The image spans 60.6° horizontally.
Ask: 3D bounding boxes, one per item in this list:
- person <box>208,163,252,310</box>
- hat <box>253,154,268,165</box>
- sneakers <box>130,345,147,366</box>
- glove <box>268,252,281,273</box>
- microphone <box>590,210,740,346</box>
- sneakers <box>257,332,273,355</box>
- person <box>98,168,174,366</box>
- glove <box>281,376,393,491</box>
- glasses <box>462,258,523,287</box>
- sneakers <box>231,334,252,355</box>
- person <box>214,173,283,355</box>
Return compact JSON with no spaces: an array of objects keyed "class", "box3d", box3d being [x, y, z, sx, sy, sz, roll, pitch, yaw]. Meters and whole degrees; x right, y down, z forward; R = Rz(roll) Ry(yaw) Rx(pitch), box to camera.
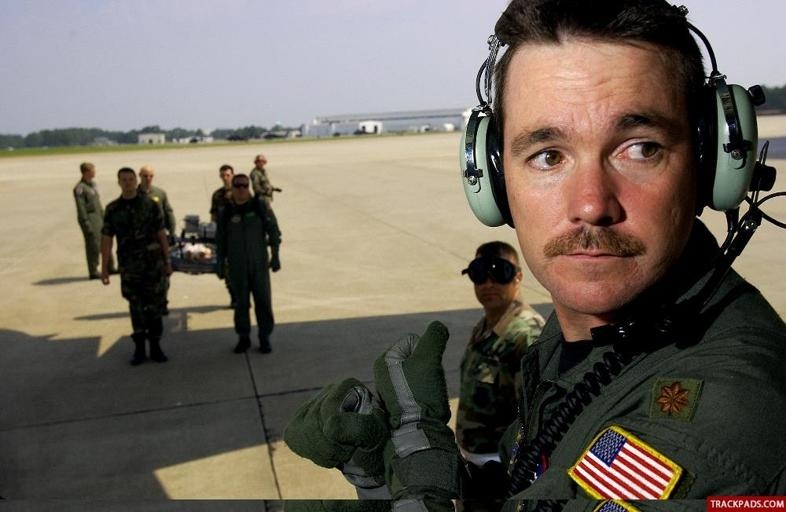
[{"class":"person","box3d":[-1.441,-0.300,6.134,0.380,1.024,0.323,11,20,41]},{"class":"hat","box3d":[-0.797,-0.581,4.039,0.067,0.070,0.078,1,-3,-17]},{"class":"sneakers","box3d":[-1.736,0.674,4.571,0.110,0.104,0.141,-12,13,-19]},{"class":"glove","box3d":[-0.902,0.051,5.124,0.110,0.129,0.045,-2,-1,18]},{"class":"microphone","box3d":[0.711,0.105,1.683,0.135,0.385,0.274,36,26,-22]},{"class":"sneakers","box3d":[-0.825,0.575,4.392,0.064,0.067,0.168,-1,8,-12]},{"class":"person","box3d":[-1.842,0.018,4.847,0.493,1.302,0.937,-14,13,-21]},{"class":"glove","box3d":[-0.157,0.506,2.136,0.305,0.148,0.360,-20,18,-2]},{"class":"glasses","box3d":[0.496,0.076,3.319,0.217,0.087,0.217,0,-17,13]},{"class":"sneakers","box3d":[-1.017,0.601,4.544,0.093,0.133,0.140,13,-6,-15]},{"class":"person","box3d":[-1.078,0.056,5.016,0.545,1.296,0.328,-6,3,-19]}]
